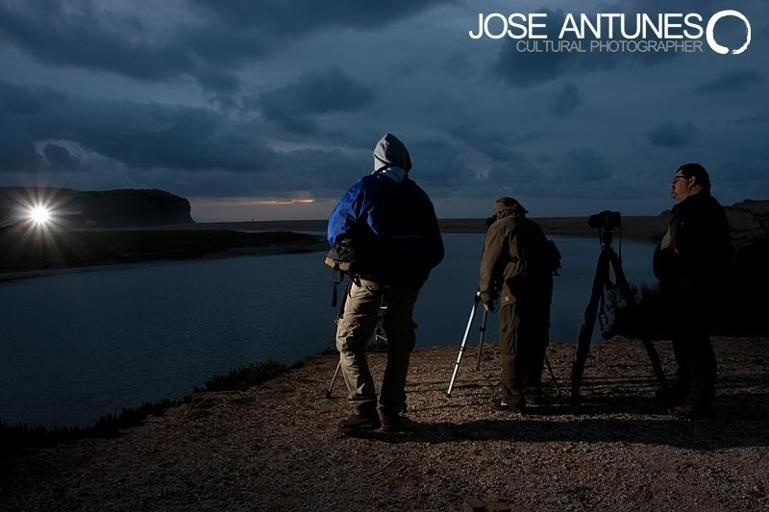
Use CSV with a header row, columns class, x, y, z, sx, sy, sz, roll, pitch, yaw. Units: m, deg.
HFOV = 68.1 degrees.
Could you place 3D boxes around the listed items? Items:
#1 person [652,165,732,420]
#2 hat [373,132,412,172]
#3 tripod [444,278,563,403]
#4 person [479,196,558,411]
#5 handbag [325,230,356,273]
class,x,y,z,sx,sy,sz,roll,pitch,yaw
person,4.882,0.521,9.070,1.063,3.972,0.735,-1,6,27
hat,0.111,-1.820,9.037,0.451,0.503,0.337,-17,35,-15
tripod,2.269,1.640,11.143,1.671,2.591,1.739,-4,-21,20
person,2.264,0.757,9.677,1.333,3.546,0.710,-8,7,-37
handbag,-0.652,-0.007,8.623,0.506,0.568,0.254,0,7,35
